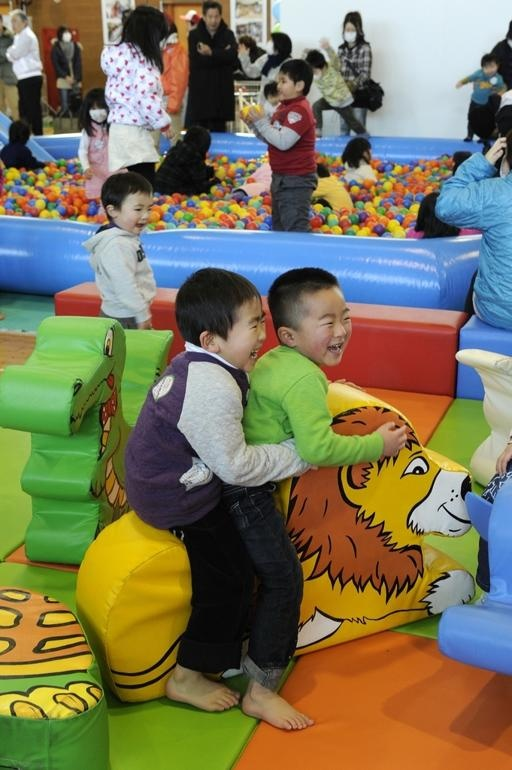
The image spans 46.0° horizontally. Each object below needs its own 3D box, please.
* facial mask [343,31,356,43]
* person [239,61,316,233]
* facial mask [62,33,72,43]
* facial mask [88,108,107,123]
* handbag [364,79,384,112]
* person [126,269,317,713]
[{"bbox_3d":[1.176,-4.337,7.526,0.146,0.117,0.145,4,12,21],"label":"facial mask"},{"bbox_3d":[0.150,-1.389,3.503,0.390,0.985,0.523,-2,10,5],"label":"person"},{"bbox_3d":[-3.297,-6.067,10.578,0.165,0.194,0.116,-5,22,-25],"label":"facial mask"},{"bbox_3d":[-1.110,-1.911,4.267,0.095,0.076,0.091,1,28,-1],"label":"facial mask"},{"bbox_3d":[1.540,-3.763,7.799,0.191,0.336,0.343,-1,10,11],"label":"handbag"},{"bbox_3d":[-0.063,0.179,1.067,0.322,0.760,0.193,-5,10,-13],"label":"person"}]
